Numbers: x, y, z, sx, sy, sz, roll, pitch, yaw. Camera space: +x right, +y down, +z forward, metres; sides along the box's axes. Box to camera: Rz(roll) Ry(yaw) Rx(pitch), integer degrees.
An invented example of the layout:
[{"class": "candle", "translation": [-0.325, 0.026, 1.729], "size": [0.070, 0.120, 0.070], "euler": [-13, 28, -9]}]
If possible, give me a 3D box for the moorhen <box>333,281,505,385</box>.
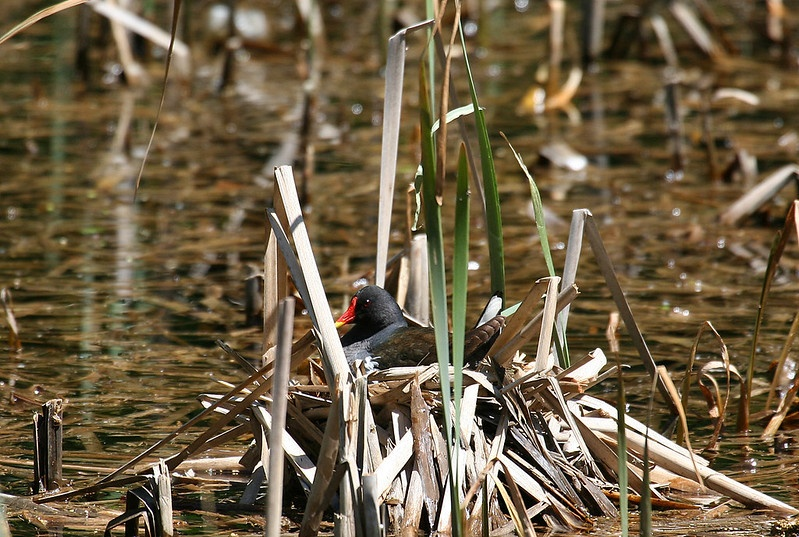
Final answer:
[{"class": "moorhen", "translation": [0.072, 0.283, 4.814], "size": [0.838, 0.359, 0.373], "euler": [1, -9, 15]}]
